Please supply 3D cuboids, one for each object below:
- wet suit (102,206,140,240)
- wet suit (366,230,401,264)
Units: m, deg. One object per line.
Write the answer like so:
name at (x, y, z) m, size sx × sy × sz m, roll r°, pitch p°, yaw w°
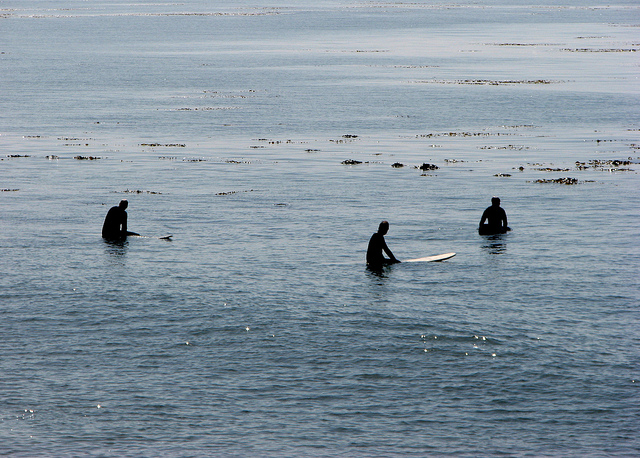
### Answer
wet suit at (-15.657, -0.455, 126.192) m, size 1.712 × 2.468 × 0.593 m, roll -2°, pitch 4°, yaw -7°
wet suit at (4.548, 1.276, 123.085) m, size 2.012 × 2.460 × 1.373 m, roll -2°, pitch 4°, yaw -12°
